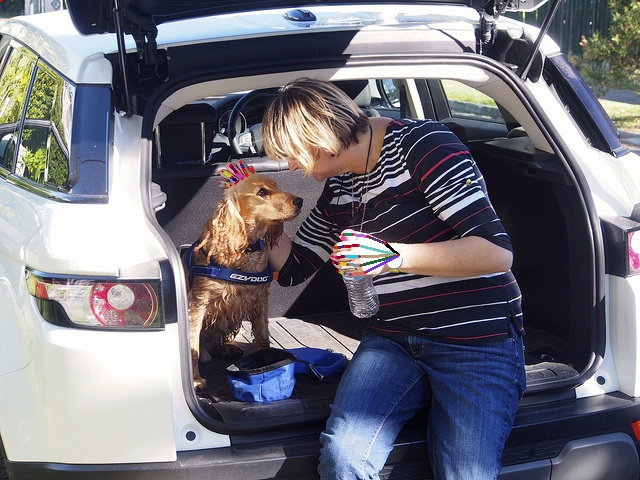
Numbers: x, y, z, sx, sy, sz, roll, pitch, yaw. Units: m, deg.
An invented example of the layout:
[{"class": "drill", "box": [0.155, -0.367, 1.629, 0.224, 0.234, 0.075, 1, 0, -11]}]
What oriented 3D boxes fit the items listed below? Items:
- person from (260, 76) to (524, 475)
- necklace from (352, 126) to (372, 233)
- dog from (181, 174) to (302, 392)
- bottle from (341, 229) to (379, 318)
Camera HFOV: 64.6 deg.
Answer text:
[{"class": "person", "box": [0.264, 0.093, 2.017, 0.995, 1.567, 0.766, -1, 10, 22]}, {"class": "necklace", "box": [0.173, -0.257, 2.156, 0.050, 0.428, 0.189, -8, 10, -22]}, {"class": "dog", "box": [-0.628, 0.215, 3.161, 0.508, 1.114, 1.531, 2, -1, -25]}, {"class": "bottle", "box": [0.171, 0.211, 2.051, 0.124, 0.216, 0.292, -3, 10, 8]}]
